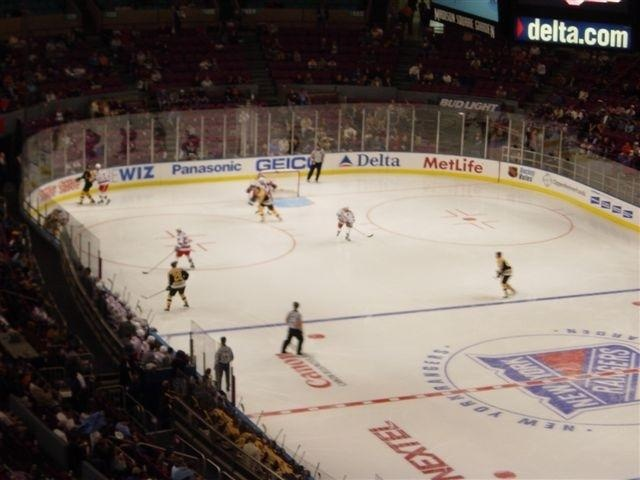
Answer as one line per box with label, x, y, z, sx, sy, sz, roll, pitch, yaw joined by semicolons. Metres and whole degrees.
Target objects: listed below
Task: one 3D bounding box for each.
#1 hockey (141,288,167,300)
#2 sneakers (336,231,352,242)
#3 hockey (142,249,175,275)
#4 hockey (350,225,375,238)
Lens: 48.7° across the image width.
hockey;-4.815;1.570;20.253;0.364;0.097;0.887;10;16;37
sneakers;0.813;-0.122;25.540;0.684;0.260;0.124;24;41;39
hockey;-5.135;0.733;22.170;0.109;0.195;1.399;21;34;20
hockey;1.525;-0.297;26.184;0.166;0.233;1.751;-52;31;-17
